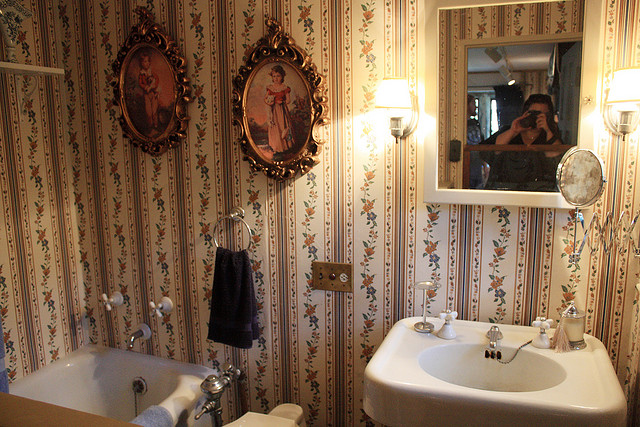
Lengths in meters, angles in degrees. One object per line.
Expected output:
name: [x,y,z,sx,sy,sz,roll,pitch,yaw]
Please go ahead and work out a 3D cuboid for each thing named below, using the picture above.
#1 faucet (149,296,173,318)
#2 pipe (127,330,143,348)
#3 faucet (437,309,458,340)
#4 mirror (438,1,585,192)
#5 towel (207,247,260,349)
faucet: [-0.968,0.564,3.475,0.111,0.131,0.065,0,-10,31]
pipe: [-1.138,0.773,3.504,0.049,0.117,0.168,4,-2,15]
faucet: [0.639,0.551,2.866,0.098,0.141,0.103,6,13,35]
mirror: [0.917,-0.551,2.780,0.657,0.899,0.135,2,6,25]
towel: [-0.483,0.461,3.206,0.284,0.544,0.127,8,16,7]
